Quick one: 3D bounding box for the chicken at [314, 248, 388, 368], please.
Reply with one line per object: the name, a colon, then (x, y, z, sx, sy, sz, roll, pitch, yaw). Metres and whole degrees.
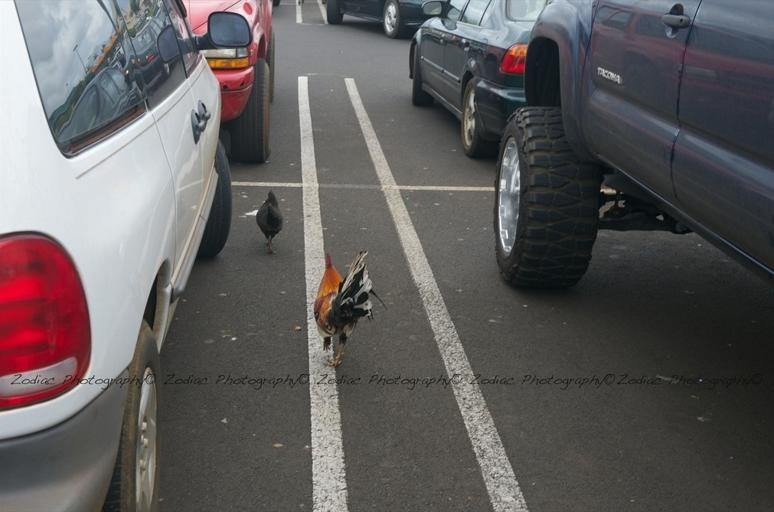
chicken: (-0.269, 0.299, 3.912, 0.349, 0.860, 0.394, 1, 33, -5)

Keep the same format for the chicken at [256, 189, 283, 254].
chicken: (-0.982, -0.301, 5.327, 0.195, 0.471, 0.639, 6, -2, -5)
